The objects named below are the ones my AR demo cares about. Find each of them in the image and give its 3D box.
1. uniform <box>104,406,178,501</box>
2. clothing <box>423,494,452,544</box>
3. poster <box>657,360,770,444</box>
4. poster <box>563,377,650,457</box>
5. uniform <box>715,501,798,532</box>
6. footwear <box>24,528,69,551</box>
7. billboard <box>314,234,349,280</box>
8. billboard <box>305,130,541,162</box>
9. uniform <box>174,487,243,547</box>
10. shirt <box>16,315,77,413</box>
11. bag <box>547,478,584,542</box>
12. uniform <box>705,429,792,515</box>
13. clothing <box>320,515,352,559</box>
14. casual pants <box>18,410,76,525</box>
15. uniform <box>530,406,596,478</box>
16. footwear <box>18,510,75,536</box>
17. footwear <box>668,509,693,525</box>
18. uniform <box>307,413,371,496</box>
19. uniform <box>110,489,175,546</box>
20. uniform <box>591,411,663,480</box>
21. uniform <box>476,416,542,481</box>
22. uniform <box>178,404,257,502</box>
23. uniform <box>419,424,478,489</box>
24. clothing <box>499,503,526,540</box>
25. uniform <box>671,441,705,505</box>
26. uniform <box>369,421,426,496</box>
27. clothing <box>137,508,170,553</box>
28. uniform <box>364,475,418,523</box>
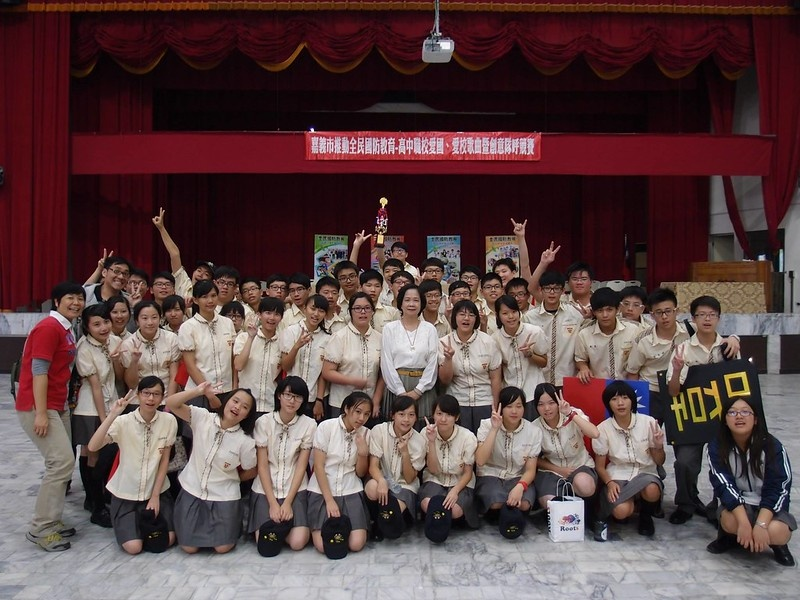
[{"bbox_3d":[-1.612,0.955,4.518,0.446,0.653,0.286,4,16,-8],"label":"uniform"},{"bbox_3d":[0.235,1.359,4.373,0.161,0.280,0.173,0,-2,0],"label":"clothing"},{"bbox_3d":[2.033,0.694,4.616,0.087,0.632,0.709,23,-22,-19],"label":"poster"},{"bbox_3d":[1.371,0.787,4.649,0.475,0.528,0.024,0,-15,3],"label":"poster"},{"bbox_3d":[2.110,1.281,4.168,0.415,0.134,0.110,-1,-3,17],"label":"uniform"},{"bbox_3d":[-2.115,1.467,4.273,0.260,0.123,0.109,9,13,-8],"label":"footwear"},{"bbox_3d":[-1.132,-0.716,11.570,0.537,0.800,0.039,-5,29,-13],"label":"billboard"},{"bbox_3d":[0.299,-1.979,9.023,2.989,0.357,0.142,0,-3,-1],"label":"billboard"},{"bbox_3d":[-1.238,1.355,4.383,0.349,0.390,0.219,17,-38,-35],"label":"uniform"},{"bbox_3d":[-2.223,0.364,4.495,0.302,0.629,0.485,2,-8,-14],"label":"shirt"},{"bbox_3d":[1.050,1.321,4.449,0.235,0.355,0.250,0,-3,7],"label":"bag"},{"bbox_3d":[2.116,1.112,4.358,0.404,0.545,0.481,-12,-40,33],"label":"uniform"},{"bbox_3d":[-0.385,1.445,4.278,0.216,0.115,0.349,7,12,4],"label":"clothing"},{"bbox_3d":[-2.204,0.970,4.394,0.281,0.971,0.297,7,-32,-36],"label":"casual pants"},{"bbox_3d":[1.062,0.943,4.624,0.379,0.412,0.222,-11,0,7],"label":"uniform"},{"bbox_3d":[-2.179,1.382,4.378,0.330,0.162,0.125,4,19,-23],"label":"footwear"},{"bbox_3d":[1.827,1.417,4.605,0.066,0.071,0.186,-3,-8,36],"label":"footwear"},{"bbox_3d":[-0.377,1.018,4.570,0.362,0.483,0.239,11,-9,-22],"label":"uniform"},{"bbox_3d":[-1.626,1.332,4.299,0.300,0.330,0.133,0,-3,-5],"label":"uniform"},{"bbox_3d":[1.420,0.902,4.720,0.563,0.621,0.342,-1,-5,7],"label":"uniform"},{"bbox_3d":[0.735,1.021,4.681,0.435,0.440,0.245,-2,-13,28],"label":"uniform"},{"bbox_3d":[-1.157,0.979,4.483,0.515,0.543,0.278,18,7,-6],"label":"uniform"},{"bbox_3d":[0.316,1.016,4.619,0.369,0.401,0.258,0,19,7],"label":"uniform"},{"bbox_3d":[0.685,1.378,4.354,0.133,0.208,0.197,-1,-7,-1],"label":"clothing"},{"bbox_3d":[1.916,1.169,4.659,0.273,0.421,0.159,1,-3,-30],"label":"uniform"},{"bbox_3d":[-0.018,1.004,4.611,0.358,0.458,0.259,5,35,0],"label":"uniform"},{"bbox_3d":[-1.496,1.404,4.270,0.210,0.293,0.142,-3,-9,-36],"label":"clothing"},{"bbox_3d":[-0.039,1.270,4.467,0.116,0.326,0.236,-23,15,-20],"label":"uniform"}]
